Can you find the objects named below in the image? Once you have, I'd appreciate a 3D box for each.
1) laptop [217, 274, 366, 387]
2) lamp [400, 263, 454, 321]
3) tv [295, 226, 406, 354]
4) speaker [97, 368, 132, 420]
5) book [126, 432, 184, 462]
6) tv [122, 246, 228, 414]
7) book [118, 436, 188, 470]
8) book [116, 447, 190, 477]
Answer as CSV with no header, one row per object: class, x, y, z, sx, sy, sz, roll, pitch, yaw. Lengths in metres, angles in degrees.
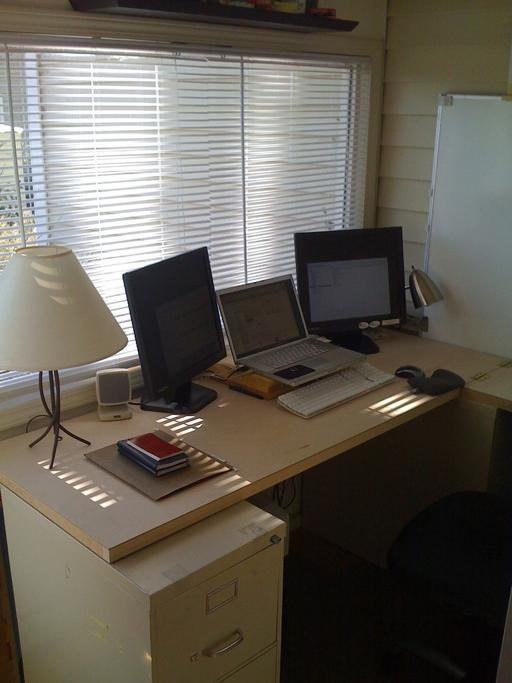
laptop,0.096,-0.022,1.799,0.376,0.425,0.258,-15,-1,-41
lamp,0.667,-0.211,2.166,0.115,0.156,0.127,-19,-9,7
tv,0.373,-0.209,2.101,0.396,0.488,0.175,-5,24,8
speaker,-0.409,0.136,1.561,0.102,0.142,0.118,-1,22,-8
book,-0.231,0.237,1.236,0.082,0.023,0.061,24,27,39
tv,-0.246,-0.029,1.578,0.156,0.365,0.365,7,29,17
book,-0.237,0.241,1.238,0.074,0.028,0.100,-14,28,-41
book,-0.235,0.266,1.236,0.089,0.025,0.068,24,23,39
